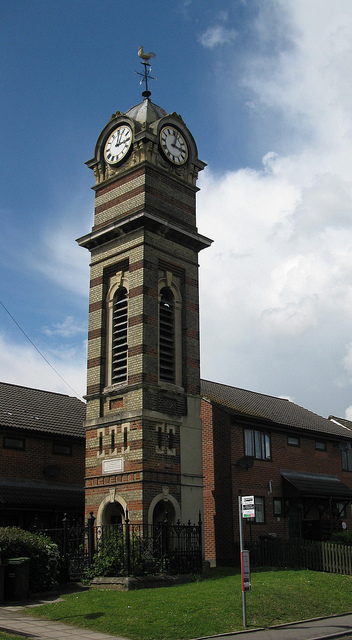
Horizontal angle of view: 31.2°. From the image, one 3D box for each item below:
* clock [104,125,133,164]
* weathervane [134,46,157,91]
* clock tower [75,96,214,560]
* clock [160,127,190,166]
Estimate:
[{"bbox_3d":[-2.337,-6.931,24.931,0.116,1.679,1.794,17,-27,-41],"label":"clock"},{"bbox_3d":[-1.243,-10.079,25.361,0.835,1.868,0.847,10,12,30],"label":"weathervane"},{"bbox_3d":[-1.204,-1.378,23.322,4.152,17.104,2.637,0,-20,-5],"label":"clock tower"},{"bbox_3d":[-0.046,-6.941,25.165,0.315,1.666,1.864,-13,-23,29],"label":"clock"}]
